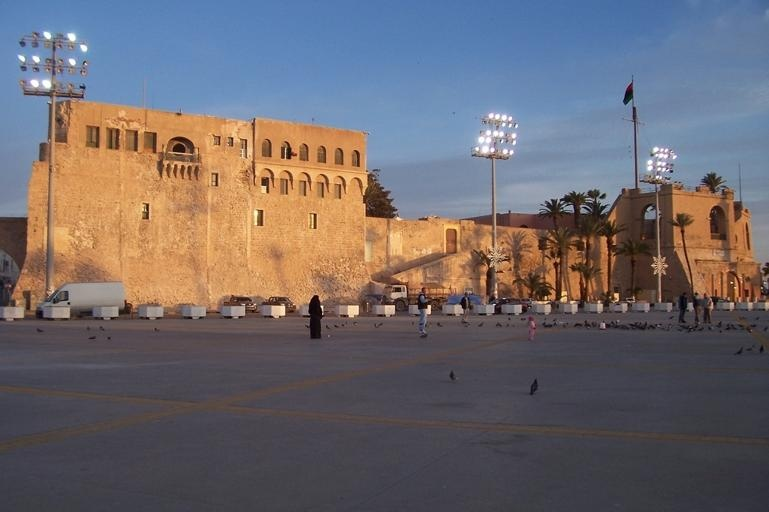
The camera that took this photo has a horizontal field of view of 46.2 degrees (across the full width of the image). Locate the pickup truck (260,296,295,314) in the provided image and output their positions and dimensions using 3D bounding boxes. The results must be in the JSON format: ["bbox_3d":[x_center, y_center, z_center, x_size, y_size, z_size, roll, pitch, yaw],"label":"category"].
[{"bbox_3d":[-7.079,3.257,61.105,1.963,0.968,1.277,-5,-5,40],"label":"pickup truck"}]

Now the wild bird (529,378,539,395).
[{"bbox_3d":[3.251,2.864,19.627,0.117,0.286,0.080,36,-30,-27],"label":"wild bird"}]

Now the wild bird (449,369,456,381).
[{"bbox_3d":[1.574,2.787,20.965,0.125,0.093,0.195,-26,23,-10],"label":"wild bird"}]

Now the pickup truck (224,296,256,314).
[{"bbox_3d":[-9.642,3.187,60.019,1.238,1.051,2.310,3,-8,-41],"label":"pickup truck"}]
